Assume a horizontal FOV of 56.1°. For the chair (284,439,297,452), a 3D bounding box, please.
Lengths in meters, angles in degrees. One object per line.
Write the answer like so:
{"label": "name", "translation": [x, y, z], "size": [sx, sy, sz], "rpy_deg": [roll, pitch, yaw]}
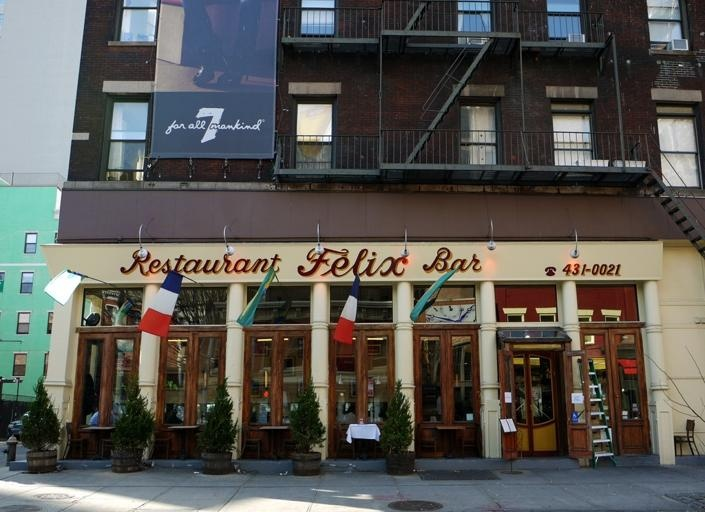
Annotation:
{"label": "chair", "translation": [-1.857, 5.485, 19.497], "size": [0.422, 0.485, 0.281], "rpy_deg": [1, -4, 3]}

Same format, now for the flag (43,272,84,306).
{"label": "flag", "translation": [-8.249, 1.026, 18.933], "size": [0.821, 1.025, 0.240], "rpy_deg": [28, -33, 7]}

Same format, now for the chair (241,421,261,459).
{"label": "chair", "translation": [-3.018, 5.444, 19.342], "size": [0.853, 1.146, 0.710], "rpy_deg": [2, -14, -10]}

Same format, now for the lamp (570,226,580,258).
{"label": "lamp", "translation": [6.831, -0.397, 20.118], "size": [0.205, 0.903, 0.458], "rpy_deg": [-4, -6, 35]}

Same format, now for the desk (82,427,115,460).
{"label": "desk", "translation": [-7.379, 5.420, 19.072], "size": [0.950, 1.033, 1.015], "rpy_deg": [0, -9, 0]}

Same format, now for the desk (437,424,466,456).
{"label": "desk", "translation": [2.952, 5.460, 19.635], "size": [0.785, 0.875, 0.838], "rpy_deg": [0, -9, -1]}

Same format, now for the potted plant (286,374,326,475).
{"label": "potted plant", "translation": [-1.221, 4.586, 18.005], "size": [0.958, 2.462, 1.367], "rpy_deg": [0, -5, -4]}

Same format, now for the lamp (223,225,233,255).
{"label": "lamp", "translation": [-3.792, -0.497, 19.981], "size": [0.479, 0.942, 0.233], "rpy_deg": [-5, -7, 44]}

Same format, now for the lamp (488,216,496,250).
{"label": "lamp", "translation": [4.232, -0.687, 19.998], "size": [0.249, 1.019, 0.616], "rpy_deg": [-1, -5, 12]}

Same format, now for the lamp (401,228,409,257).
{"label": "lamp", "translation": [1.583, -0.424, 19.963], "size": [0.248, 0.845, 0.442], "rpy_deg": [-1, -5, 9]}

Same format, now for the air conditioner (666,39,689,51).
{"label": "air conditioner", "translation": [10.778, -6.891, 21.574], "size": [0.721, 0.523, 0.320], "rpy_deg": [-1, -5, 2]}

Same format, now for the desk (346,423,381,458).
{"label": "desk", "translation": [0.300, 5.261, 18.707], "size": [0.887, 1.120, 1.510], "rpy_deg": [0, -5, -1]}

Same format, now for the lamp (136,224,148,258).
{"label": "lamp", "translation": [-6.418, -0.473, 19.964], "size": [0.419, 1.027, 0.216], "rpy_deg": [-3, -6, 31]}

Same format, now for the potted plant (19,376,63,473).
{"label": "potted plant", "translation": [-8.405, 4.543, 17.634], "size": [0.923, 2.405, 0.616], "rpy_deg": [2, -5, -27]}

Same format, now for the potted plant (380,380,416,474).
{"label": "potted plant", "translation": [1.194, 4.514, 17.518], "size": [0.861, 2.406, 0.530], "rpy_deg": [0, -5, 2]}

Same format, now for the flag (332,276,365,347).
{"label": "flag", "translation": [-0.156, 1.557, 19.135], "size": [0.673, 1.998, 1.423], "rpy_deg": [-1, -5, 3]}

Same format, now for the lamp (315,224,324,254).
{"label": "lamp", "translation": [-1.011, -0.548, 19.903], "size": [0.256, 0.989, 0.533], "rpy_deg": [0, -5, -5]}

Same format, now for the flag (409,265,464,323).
{"label": "flag", "translation": [2.517, 1.141, 19.902], "size": [2.461, 0.417, 0.975], "rpy_deg": [-45, 3, -31]}

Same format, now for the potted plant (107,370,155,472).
{"label": "potted plant", "translation": [-5.958, 4.497, 17.738], "size": [1.040, 2.481, 0.842], "rpy_deg": [2, -5, -26]}
